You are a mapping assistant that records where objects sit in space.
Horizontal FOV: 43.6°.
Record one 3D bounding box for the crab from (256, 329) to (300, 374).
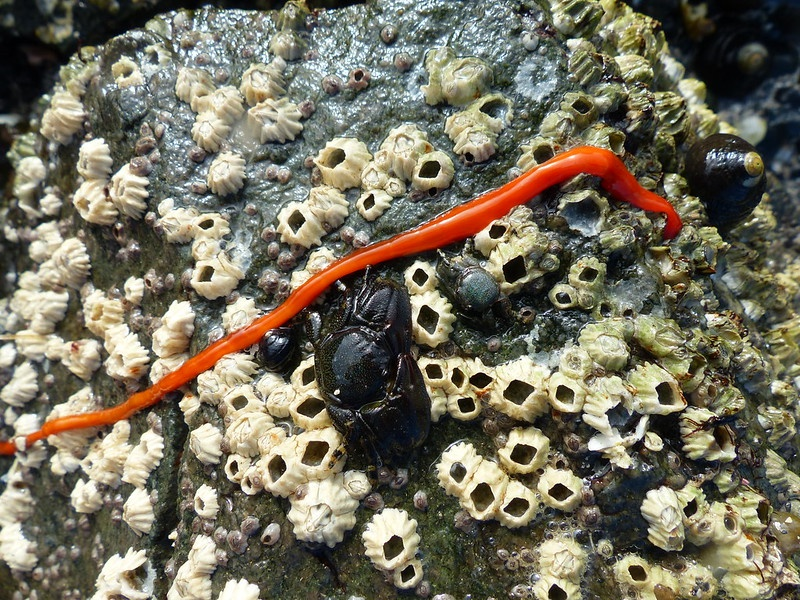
[{"bbox_3d":[-1.162,0.466,9.740,0.395,0.246,0.361,-27,96,4],"label":"crab"}]
